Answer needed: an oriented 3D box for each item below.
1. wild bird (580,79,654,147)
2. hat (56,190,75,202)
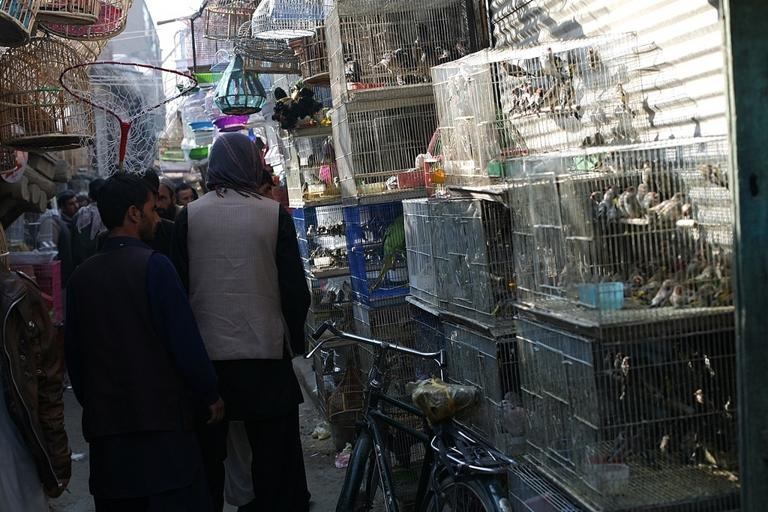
[{"bbox_3d":[1.164,-0.709,3.499,0.362,0.293,0.155,-3,4,14],"label":"wild bird"},{"bbox_3d":[-4.228,-0.836,9.337,0.175,0.103,0.196,-11,-2,12],"label":"hat"}]
